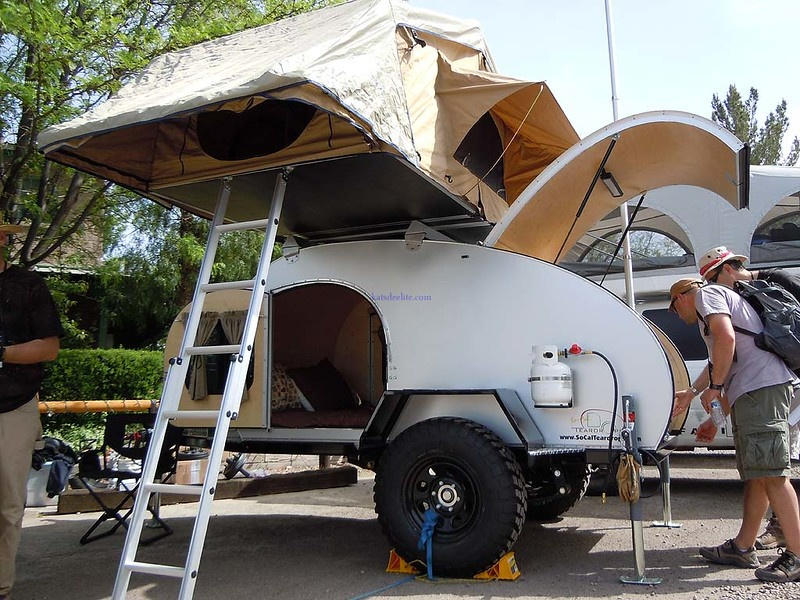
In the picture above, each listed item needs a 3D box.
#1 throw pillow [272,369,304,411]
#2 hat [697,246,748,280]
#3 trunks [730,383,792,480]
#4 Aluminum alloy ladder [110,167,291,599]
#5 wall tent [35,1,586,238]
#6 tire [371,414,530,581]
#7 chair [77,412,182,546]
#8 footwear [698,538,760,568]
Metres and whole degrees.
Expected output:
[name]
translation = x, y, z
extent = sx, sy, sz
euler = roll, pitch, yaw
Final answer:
[throw pillow]
translation = -1.273, 0.995, 6.898
extent = 0.140, 0.442, 0.311
euler = -20, -46, 26
[hat]
translation = 2.775, -0.355, 5.364
extent = 0.330, 0.164, 0.299
euler = -28, -3, 17
[trunks]
translation = 2.820, 1.023, 4.839
extent = 0.417, 0.772, 0.252
euler = -1, -11, 30
[Aluminum alloy ladder]
translation = -1.520, 0.559, 4.896
extent = 0.916, 3.498, 1.391
euler = 8, -11, -22
[wall tent]
translation = -0.427, -1.579, 5.993
extent = 3.452, 1.363, 3.719
euler = -5, -10, 27
[tire]
translation = 0.415, 1.543, 4.865
extent = 1.252, 1.253, 0.443
euler = -5, 1, 29
[chair]
translation = -2.914, 1.823, 6.267
extent = 0.918, 1.194, 0.800
euler = -13, 1, 23
[footwear]
translation = 2.666, 2.048, 5.081
extent = 0.486, 0.231, 0.178
euler = 4, -10, 29
